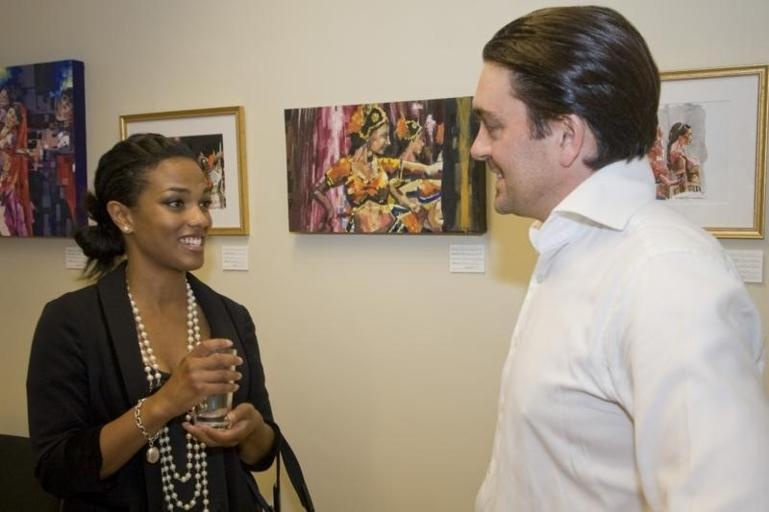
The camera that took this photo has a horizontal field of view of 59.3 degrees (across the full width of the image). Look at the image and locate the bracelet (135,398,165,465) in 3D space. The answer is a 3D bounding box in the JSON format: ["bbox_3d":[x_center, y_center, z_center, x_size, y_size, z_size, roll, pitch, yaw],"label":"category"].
[{"bbox_3d":[-0.837,0.620,2.397,0.078,0.247,0.136,-3,5,-19],"label":"bracelet"}]

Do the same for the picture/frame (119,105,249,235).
[{"bbox_3d":[-0.866,-0.375,3.078,0.697,0.722,0.049,0,6,18],"label":"picture/frame"}]
